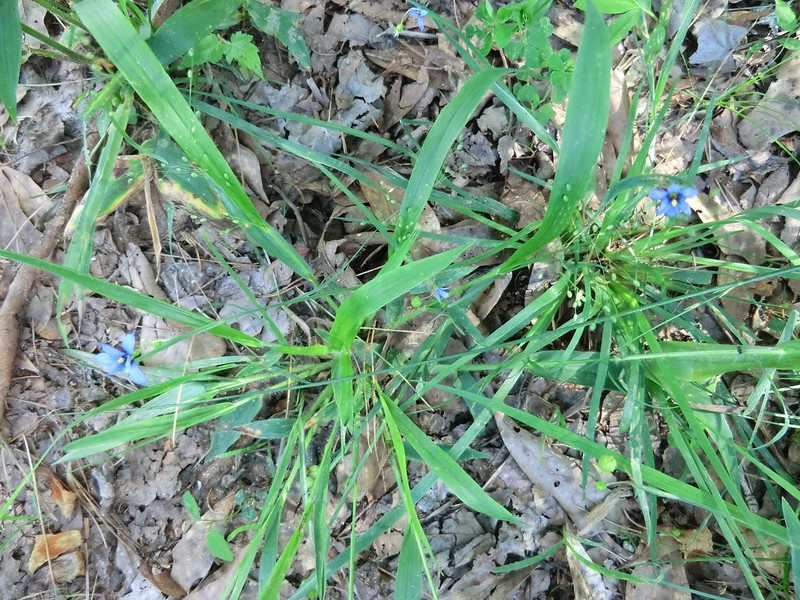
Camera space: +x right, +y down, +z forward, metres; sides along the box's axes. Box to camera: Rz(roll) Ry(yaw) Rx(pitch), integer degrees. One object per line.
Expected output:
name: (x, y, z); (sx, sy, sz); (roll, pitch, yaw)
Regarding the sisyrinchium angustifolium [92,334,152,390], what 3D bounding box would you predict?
sisyrinchium angustifolium: (-0.797, 0.147, 2.072); (0.107, 0.101, 0.045); (6, -70, 13)
